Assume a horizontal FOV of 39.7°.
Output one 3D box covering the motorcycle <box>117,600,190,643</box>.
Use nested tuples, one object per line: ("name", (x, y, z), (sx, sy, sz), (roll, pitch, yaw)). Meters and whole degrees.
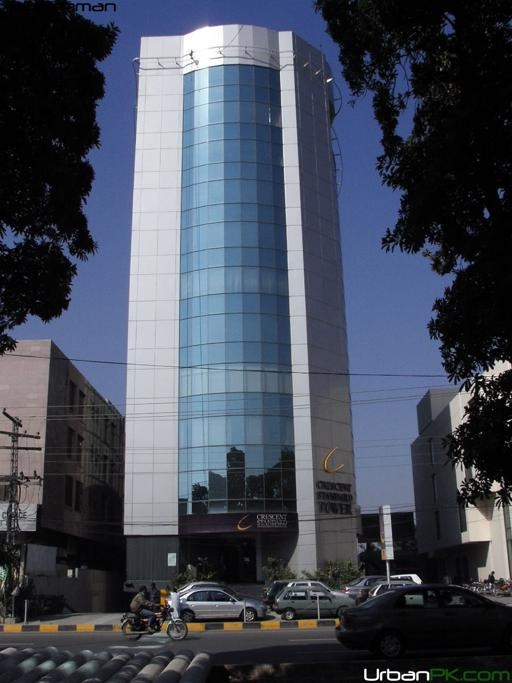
("motorcycle", (-2.880, 7.918, 20.010), (2.078, 1.151, 1.017), (-1, -23, -3))
